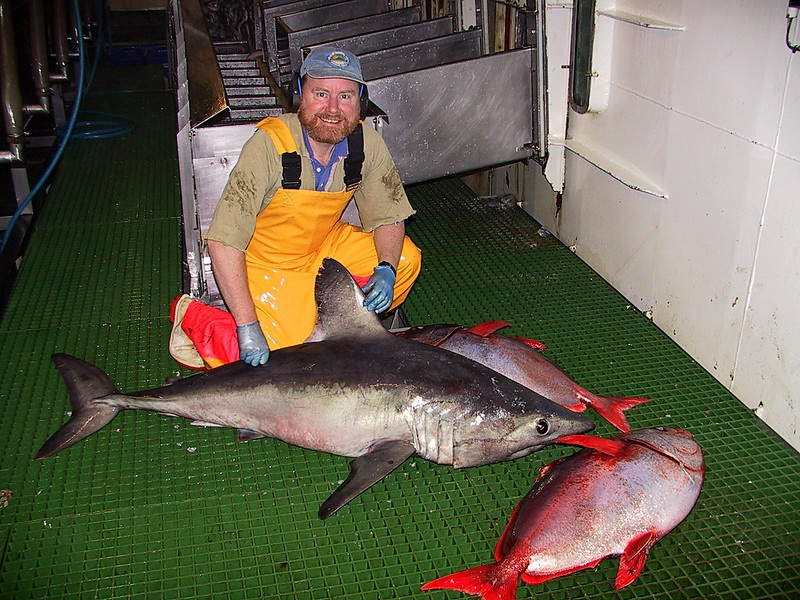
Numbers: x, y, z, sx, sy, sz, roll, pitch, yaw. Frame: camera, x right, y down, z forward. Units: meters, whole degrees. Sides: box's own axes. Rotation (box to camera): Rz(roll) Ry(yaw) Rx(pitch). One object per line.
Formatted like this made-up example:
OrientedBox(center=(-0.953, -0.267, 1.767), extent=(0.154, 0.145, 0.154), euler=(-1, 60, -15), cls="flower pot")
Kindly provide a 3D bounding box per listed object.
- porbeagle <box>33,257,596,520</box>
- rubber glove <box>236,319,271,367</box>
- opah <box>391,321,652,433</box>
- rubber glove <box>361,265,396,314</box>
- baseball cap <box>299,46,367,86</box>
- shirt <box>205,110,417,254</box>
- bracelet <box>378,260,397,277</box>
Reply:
OrientedBox(center=(-0.352, 0.368, 2.602), extent=(2.330, 0.772, 0.863), euler=(12, 33, 22), cls="porbeagle")
OrientedBox(center=(-0.737, 0.215, 2.813), extent=(0.134, 0.072, 0.223), euler=(-13, 63, -14), cls="rubber glove")
OrientedBox(center=(0.619, 0.408, 2.891), extent=(0.788, 0.236, 0.263), euler=(24, 3, 22), cls="opah")
OrientedBox(center=(-0.118, -0.064, 3.198), extent=(0.159, 0.079, 0.270), euler=(21, 49, -11), cls="rubber glove")
OrientedBox(center=(-0.356, -1.223, 2.928), extent=(0.377, 0.175, 0.316), euler=(-2, 27, -8), cls="baseball cap")
OrientedBox(center=(-0.516, -0.632, 3.146), extent=(1.192, 0.724, 0.290), euler=(-19, 33, -26), cls="shirt")
OrientedBox(center=(-0.082, -0.185, 3.271), extent=(0.045, 0.092, 0.083), euler=(-29, 22, -22), cls="bracelet")
